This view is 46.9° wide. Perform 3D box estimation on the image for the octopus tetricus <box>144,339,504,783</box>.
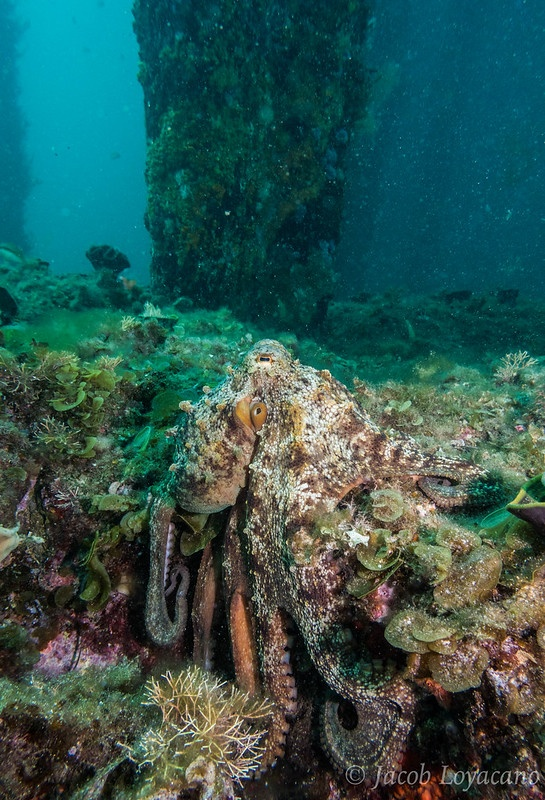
[{"bbox_3d":[0.245,0.929,4.122,1.798,2.434,0.800,-13,-25,13],"label":"octopus tetricus"}]
